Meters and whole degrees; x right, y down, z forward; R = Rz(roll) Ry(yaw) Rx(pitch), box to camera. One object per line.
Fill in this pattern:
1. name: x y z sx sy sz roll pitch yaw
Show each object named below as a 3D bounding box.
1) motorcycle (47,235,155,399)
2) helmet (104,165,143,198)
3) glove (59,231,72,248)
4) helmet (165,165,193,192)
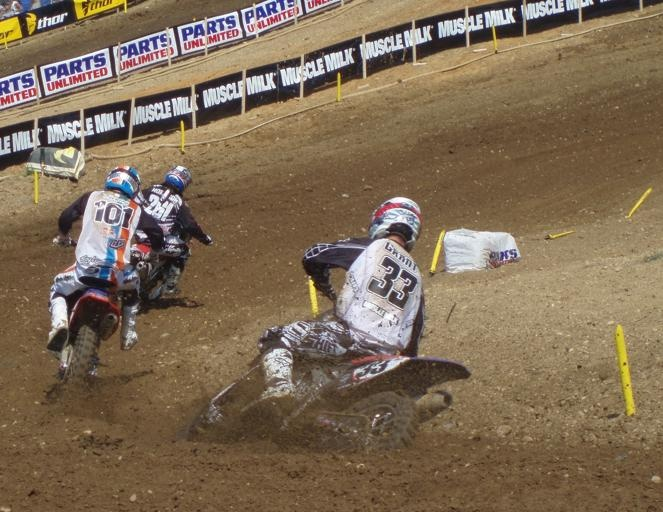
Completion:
1. motorcycle: -3.641 0.952 17.813 1.225 1.763 2.141 -5 11 10
2. helmet: -3.313 -1.190 17.991 0.535 0.512 0.604 19 2 -2
3. glove: -4.398 -0.263 18.238 0.271 0.168 0.231 10 4 -12
4. helmet: -2.775 -1.409 20.191 0.501 0.463 0.623 -47 6 0
